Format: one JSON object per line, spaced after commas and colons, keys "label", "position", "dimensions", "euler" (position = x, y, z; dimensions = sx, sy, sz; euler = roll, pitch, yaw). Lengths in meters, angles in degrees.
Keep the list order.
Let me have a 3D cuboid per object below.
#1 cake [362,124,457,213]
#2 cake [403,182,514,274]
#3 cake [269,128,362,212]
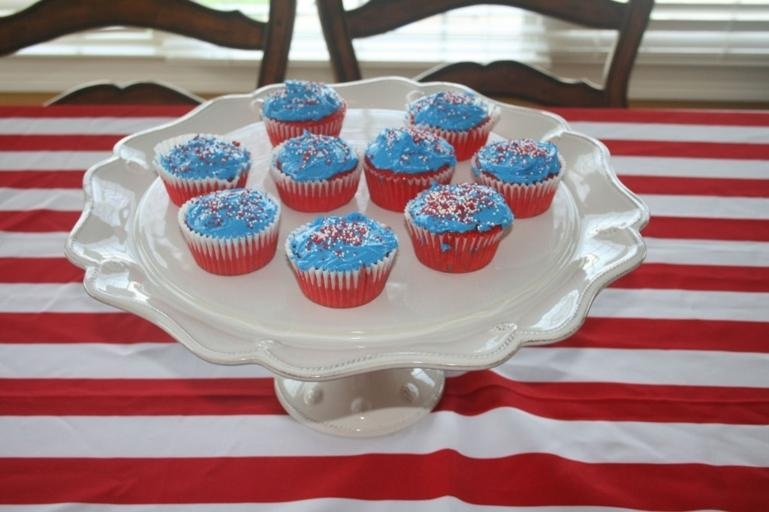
{"label": "cake", "position": [0.115, -0.503, 4.950], "dimensions": [0.458, 0.327, 0.470], "euler": [-1, 44, -2]}
{"label": "cake", "position": [0.379, -0.164, 4.761], "dimensions": [0.560, 0.345, 0.578], "euler": [19, 30, 24]}
{"label": "cake", "position": [-0.410, -0.477, 5.063], "dimensions": [0.509, 0.324, 0.509], "euler": [-22, 37, -35]}
